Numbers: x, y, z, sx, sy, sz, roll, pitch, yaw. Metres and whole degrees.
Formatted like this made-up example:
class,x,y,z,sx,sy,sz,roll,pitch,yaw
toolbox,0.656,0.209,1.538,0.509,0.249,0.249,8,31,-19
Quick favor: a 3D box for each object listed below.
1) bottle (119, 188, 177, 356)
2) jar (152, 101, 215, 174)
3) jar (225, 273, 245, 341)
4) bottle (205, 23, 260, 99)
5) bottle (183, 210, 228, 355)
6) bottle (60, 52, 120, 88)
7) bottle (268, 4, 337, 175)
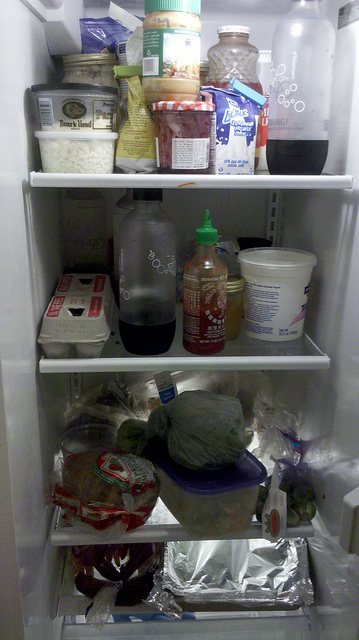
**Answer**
class,x,y,z,sx,sy,sz,roll,pitch,yaw
bottle,-0.063,-0.078,0.894,0.114,0.291,0.084,-3,20,-8
jar,0.008,-0.321,0.796,0.104,0.129,0.116,8,28,17
jar,0.114,-0.021,0.944,0.034,0.145,0.044,-5,26,-13
bottle,0.111,-0.502,0.930,0.101,0.180,0.106,6,7,-1
bottle,0.047,-0.065,0.883,0.073,0.265,0.082,-1,23,-2
bottle,-0.178,-0.483,0.914,0.093,0.102,0.103,1,23,1
bottle,0.210,-0.385,0.789,0.106,0.254,0.047,7,21,18
